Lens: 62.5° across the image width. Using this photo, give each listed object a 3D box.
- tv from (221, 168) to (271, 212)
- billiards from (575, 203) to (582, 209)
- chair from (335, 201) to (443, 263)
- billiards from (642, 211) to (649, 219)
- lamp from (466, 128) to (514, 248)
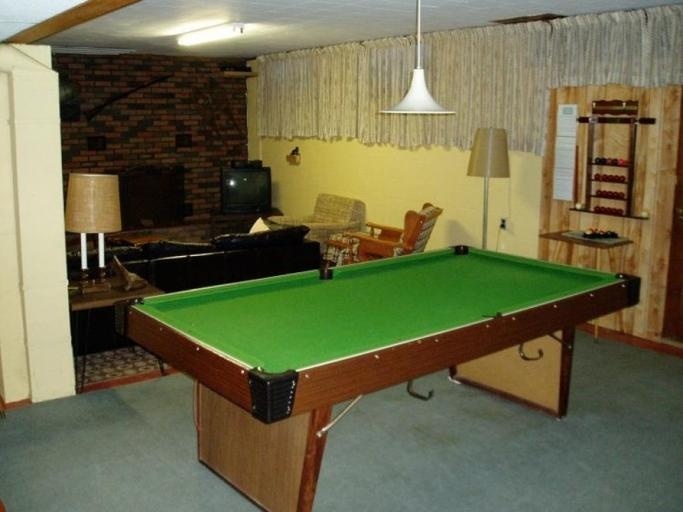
[{"bbox_3d":[-1.543,-1.070,8.997,0.787,0.574,0.402,-4,11,-28],"label":"tv"},{"bbox_3d":[2.452,-0.515,5.827,0.060,0.040,0.058,0,0,32],"label":"billiards"},{"bbox_3d":[0.617,-0.248,7.077,1.200,0.784,0.792,12,20,34],"label":"chair"},{"bbox_3d":[2.911,-0.387,5.382,0.065,0.073,0.045,4,14,23],"label":"billiards"},{"bbox_3d":[1.627,-0.713,6.223,0.431,1.380,0.652,2,14,15],"label":"lamp"}]
